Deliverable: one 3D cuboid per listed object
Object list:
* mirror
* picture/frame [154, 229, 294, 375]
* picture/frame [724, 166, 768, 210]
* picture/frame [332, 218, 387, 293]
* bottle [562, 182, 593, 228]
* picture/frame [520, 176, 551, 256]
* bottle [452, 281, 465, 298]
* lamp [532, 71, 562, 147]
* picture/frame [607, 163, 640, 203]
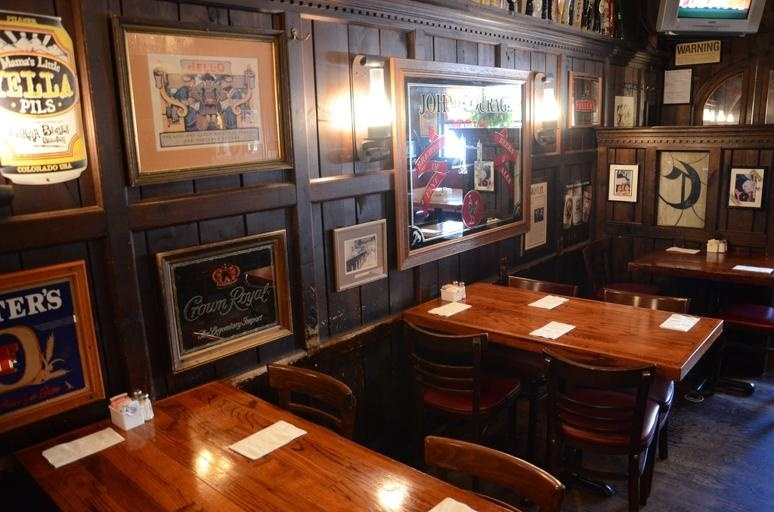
[{"bbox_3d":[0.544,-0.778,4.393,1.775,1.483,0.117,-11,14,-41],"label":"mirror"},{"bbox_3d":[-1.004,0.262,3.245,0.060,0.717,0.818,6,15,43],"label":"picture/frame"},{"bbox_3d":[3.650,-0.701,5.508,0.057,0.540,0.392,-10,14,-39],"label":"picture/frame"},{"bbox_3d":[-0.211,-0.017,3.866,0.497,0.468,0.035,-10,11,-43],"label":"picture/frame"},{"bbox_3d":[2.120,-0.591,6.119,0.054,0.375,0.501,10,18,40],"label":"bottle"},{"bbox_3d":[1.452,-0.414,5.385,0.076,0.800,0.689,7,15,34],"label":"picture/frame"},{"bbox_3d":[0.599,0.266,4.392,0.084,0.118,0.118,-1,-2,31],"label":"bottle"},{"bbox_3d":[1.575,-1.386,5.358,0.177,0.799,0.643,5,19,24],"label":"lamp"},{"bbox_3d":[2.717,-0.843,6.235,0.041,0.548,0.393,-8,14,-42],"label":"picture/frame"}]
